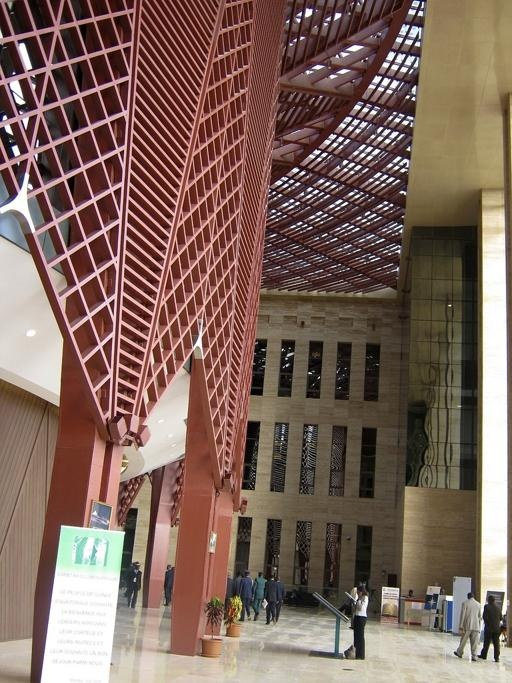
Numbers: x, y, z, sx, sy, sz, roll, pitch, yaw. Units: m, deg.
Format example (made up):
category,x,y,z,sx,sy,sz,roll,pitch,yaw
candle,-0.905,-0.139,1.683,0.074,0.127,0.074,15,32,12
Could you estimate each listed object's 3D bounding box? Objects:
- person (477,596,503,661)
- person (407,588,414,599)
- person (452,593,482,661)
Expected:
category,x,y,z,sx,sy,sz,roll,pitch,yaw
person,4.832,5.996,10.370,0.457,1.360,1.214,-3,-20,22
person,6.942,11.410,22.520,0.292,0.299,0.820,-2,-19,16
person,4.685,6.343,11.138,0.575,1.445,1.833,-3,-20,20
